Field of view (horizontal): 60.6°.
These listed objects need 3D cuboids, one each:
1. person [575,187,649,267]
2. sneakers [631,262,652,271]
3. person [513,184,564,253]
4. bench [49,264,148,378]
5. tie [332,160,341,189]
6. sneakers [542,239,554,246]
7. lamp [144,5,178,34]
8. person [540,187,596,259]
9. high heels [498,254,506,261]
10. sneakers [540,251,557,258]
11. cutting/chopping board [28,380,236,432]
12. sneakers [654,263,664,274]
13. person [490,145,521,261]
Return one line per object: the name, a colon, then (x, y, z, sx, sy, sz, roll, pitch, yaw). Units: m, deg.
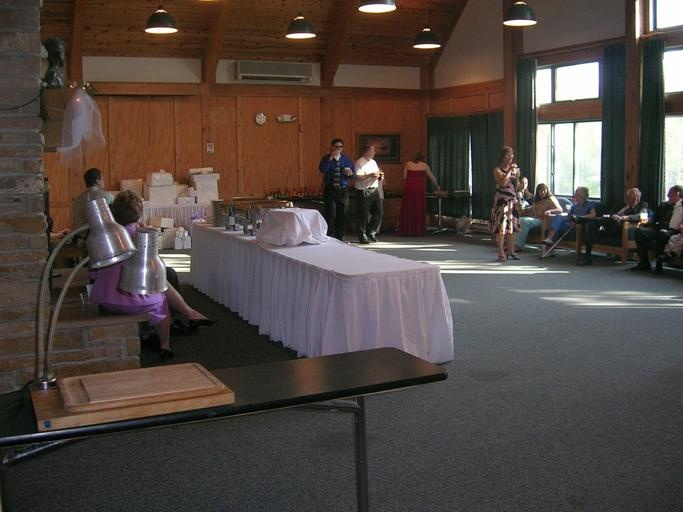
person: (4.239, -0.464, 8.978, 1.051, 1.397, 1.126, -1, 6, -2)
sneakers: (4.294, 0.132, 8.409, 0.312, 0.153, 0.113, 4, 4, 13)
person: (3.358, -0.667, 10.100, 0.747, 1.229, 0.633, 1, 4, 6)
bench: (-1.558, 0.454, 3.732, 0.700, 0.489, 0.723, -2, 4, -28)
tie: (-0.090, -1.575, 11.136, 0.154, 0.523, 0.161, -1, 9, 1)
sneakers: (3.377, -0.235, 9.569, 0.075, 0.083, 0.181, -18, 15, -24)
lamp: (-2.686, -3.540, 8.648, 0.394, 0.392, 0.524, -4, 10, -20)
person: (3.680, -0.620, 9.594, 0.899, 1.143, 0.489, 10, -7, -12)
high heels: (2.545, 0.012, 9.258, 0.072, 0.076, 0.166, -2, 2, 7)
sneakers: (3.360, -0.043, 9.487, 0.110, 0.149, 0.326, 0, 1, 44)
cutting/chopping board: (-0.866, 0.596, 2.309, 0.849, 0.067, 0.311, 0, 10, 3)
sneakers: (4.458, 0.128, 8.210, 0.109, 0.197, 0.324, 4, 11, 29)
person: (2.538, -0.779, 8.993, 0.379, 1.754, 0.697, 2, 9, 17)
